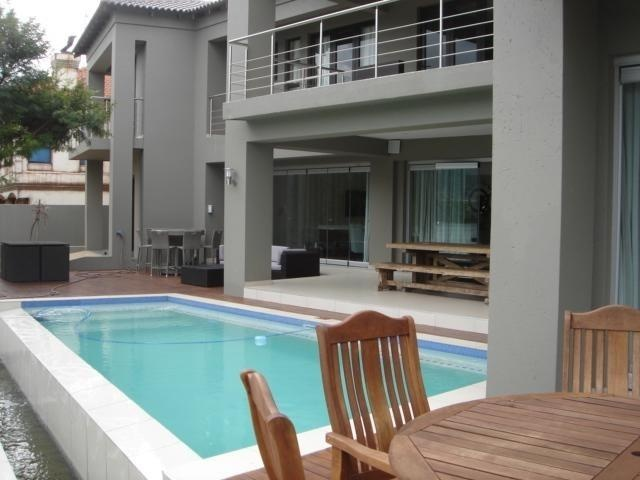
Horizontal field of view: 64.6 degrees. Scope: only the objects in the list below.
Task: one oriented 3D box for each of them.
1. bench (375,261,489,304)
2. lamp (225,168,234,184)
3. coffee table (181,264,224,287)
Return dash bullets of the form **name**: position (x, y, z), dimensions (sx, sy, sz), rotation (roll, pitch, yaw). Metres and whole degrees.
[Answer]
- **bench**: position (2.188, 0.706, 9.444), dimensions (2.214, 0.673, 1.948), rotation (3, 7, 33)
- **lamp**: position (-1.834, -1.298, 10.291), dimensions (0.179, 0.329, 0.095), rotation (-1, 6, -2)
- **coffee table**: position (-2.720, 0.823, 11.820), dimensions (1.006, 0.466, 0.533), rotation (3, 7, 31)
